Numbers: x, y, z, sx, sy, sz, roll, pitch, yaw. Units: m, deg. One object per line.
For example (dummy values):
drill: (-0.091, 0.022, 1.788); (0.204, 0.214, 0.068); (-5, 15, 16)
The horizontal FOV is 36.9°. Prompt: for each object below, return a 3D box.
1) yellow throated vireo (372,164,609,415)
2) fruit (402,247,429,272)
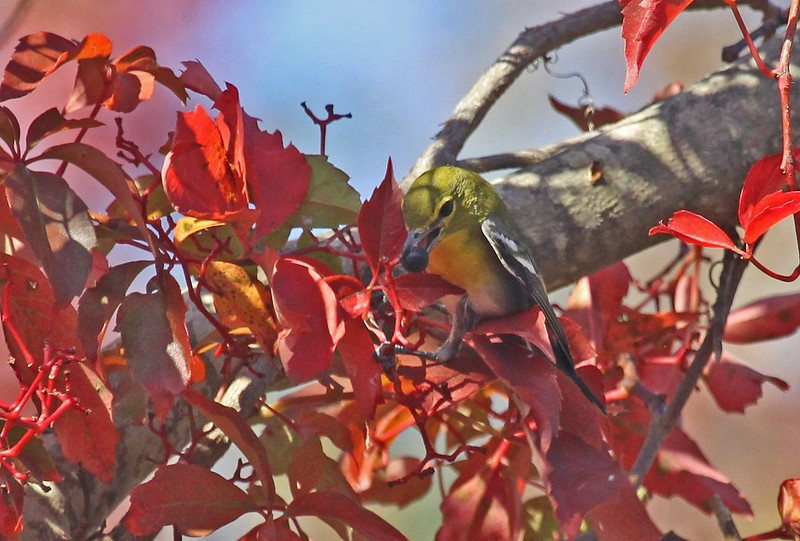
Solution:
yellow throated vireo: (0.135, 0.009, 1.576); (0.335, 0.241, 0.154); (11, -6, -29)
fruit: (0.019, -0.013, 1.434); (0.029, 0.016, 0.028); (5, 42, 13)
